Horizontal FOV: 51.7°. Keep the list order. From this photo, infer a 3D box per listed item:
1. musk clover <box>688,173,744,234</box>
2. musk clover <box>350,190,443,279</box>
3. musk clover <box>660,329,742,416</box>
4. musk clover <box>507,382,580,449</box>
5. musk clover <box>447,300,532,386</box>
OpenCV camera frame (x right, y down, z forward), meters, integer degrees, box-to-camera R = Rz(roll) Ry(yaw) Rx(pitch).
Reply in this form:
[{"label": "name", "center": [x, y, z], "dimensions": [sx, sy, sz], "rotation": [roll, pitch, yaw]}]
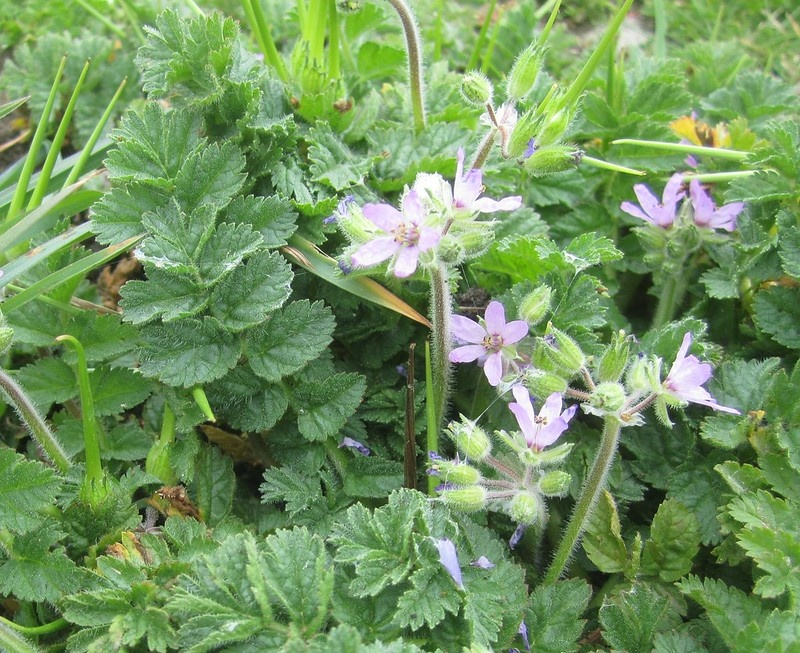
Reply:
[{"label": "musk clover", "center": [1.144, -0.446, 3.118], "dimensions": [0.272, 0.193, 0.328], "rotation": [4, 4, 41]}, {"label": "musk clover", "center": [0.038, -0.292, 2.493], "dimensions": [0.177, 0.257, 0.114], "rotation": [-13, 75, -15]}, {"label": "musk clover", "center": [0.944, 0.146, 2.555], "dimensions": [0.112, 0.259, 0.281], "rotation": [-20, 81, 15]}, {"label": "musk clover", "center": [0.425, 0.289, 2.560], "dimensions": [0.181, 0.180, 0.189], "rotation": [2, 26, -38]}, {"label": "musk clover", "center": [0.307, 0.026, 2.746], "dimensions": [0.210, 0.241, 0.115], "rotation": [28, 55, 0]}]
